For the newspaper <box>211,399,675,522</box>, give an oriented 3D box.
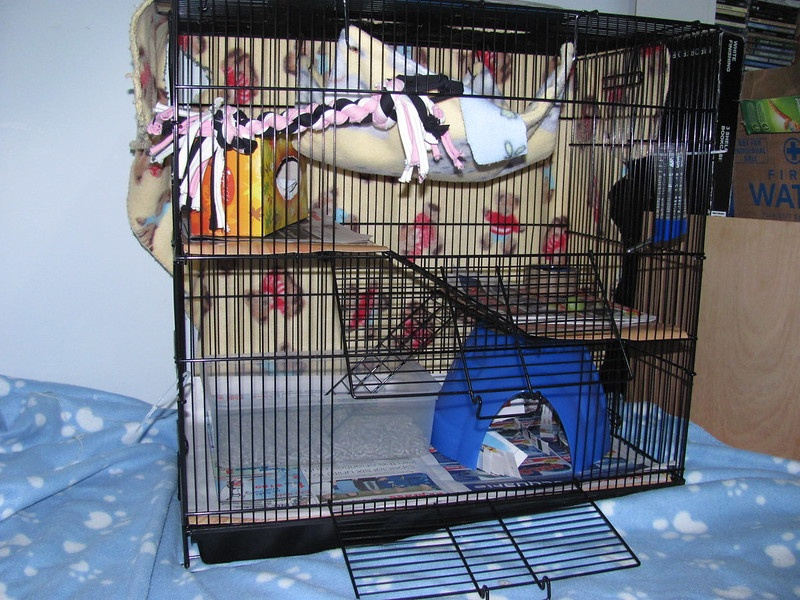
[{"bbox_3d":[0.022,0.472,2.158,1.035,0.168,0.543,0,8,-12],"label":"newspaper"}]
